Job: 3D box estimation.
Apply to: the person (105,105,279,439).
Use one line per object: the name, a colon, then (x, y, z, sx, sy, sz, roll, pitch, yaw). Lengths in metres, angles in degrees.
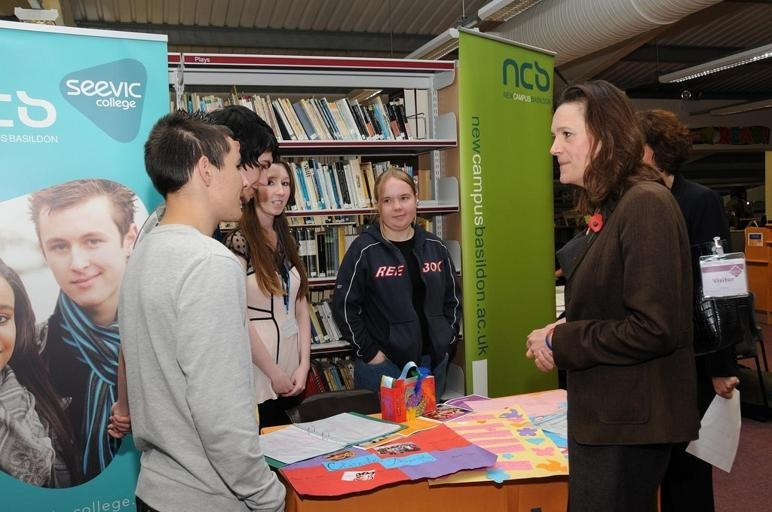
person: (-0.973, 0.244, 2.934, 0.588, 2.090, 0.786, 25, 34, 35)

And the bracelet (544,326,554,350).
bracelet: (0.691, 0.353, 2.405, 0.053, 0.071, 0.072, 0, -8, 11)

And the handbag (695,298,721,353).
handbag: (1.563, 0.350, 2.775, 0.058, 0.227, 0.176, -4, 0, 18)
